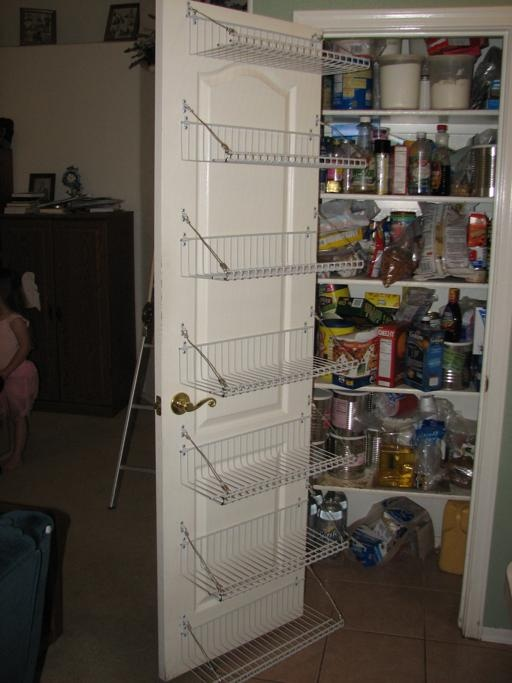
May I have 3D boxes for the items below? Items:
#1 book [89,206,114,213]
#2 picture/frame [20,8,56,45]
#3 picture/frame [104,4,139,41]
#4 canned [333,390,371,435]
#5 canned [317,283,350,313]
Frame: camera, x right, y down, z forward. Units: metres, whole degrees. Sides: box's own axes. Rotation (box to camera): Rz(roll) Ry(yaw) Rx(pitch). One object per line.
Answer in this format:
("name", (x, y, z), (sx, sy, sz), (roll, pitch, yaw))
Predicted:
("book", (-1.092, -0.937, 4.091), (0.158, 0.043, 0.162), (-2, 12, -14))
("picture/frame", (-1.670, -2.443, 4.446), (0.273, 0.289, 0.028), (2, 5, 6))
("picture/frame", (-0.992, -2.392, 4.295), (0.270, 0.331, 0.033), (5, 5, -1))
("canned", (0.358, 0.269, 2.292), (0.151, 0.180, 0.156), (1, 2, -4))
("canned", (0.290, -0.178, 2.266), (0.107, 0.112, 0.190), (9, 20, 33))
